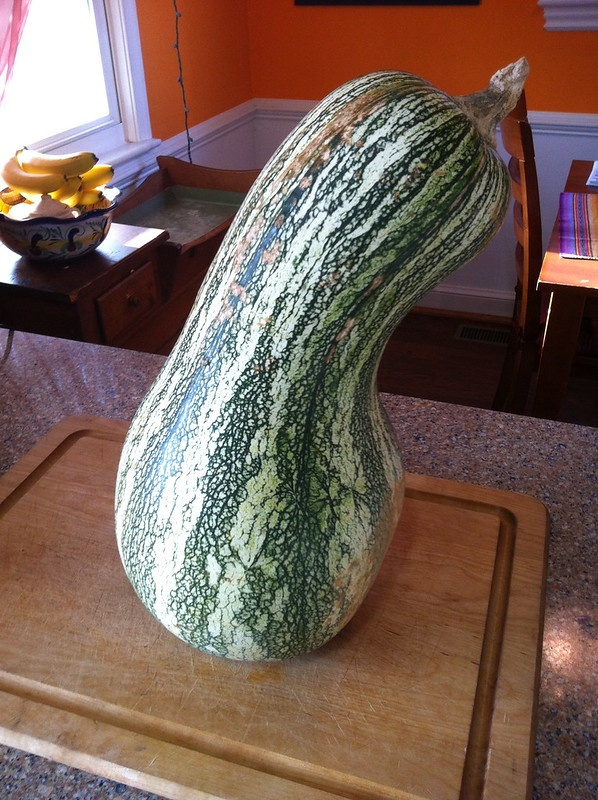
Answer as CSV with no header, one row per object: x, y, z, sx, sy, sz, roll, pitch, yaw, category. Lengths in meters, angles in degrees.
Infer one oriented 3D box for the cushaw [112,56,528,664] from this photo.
0.018,-0.012,0.346,0.261,0.281,0.131,-19,40,-18,cushaw
